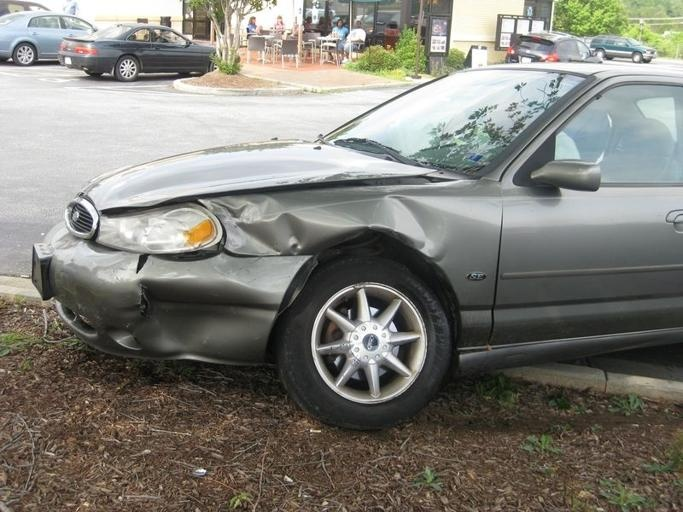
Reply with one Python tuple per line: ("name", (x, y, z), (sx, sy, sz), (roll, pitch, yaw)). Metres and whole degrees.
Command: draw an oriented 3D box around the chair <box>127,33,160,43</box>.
("chair", (-6.988, -7.709, 18.791), (0.501, 0.229, 0.702), (7, 12, 16))
